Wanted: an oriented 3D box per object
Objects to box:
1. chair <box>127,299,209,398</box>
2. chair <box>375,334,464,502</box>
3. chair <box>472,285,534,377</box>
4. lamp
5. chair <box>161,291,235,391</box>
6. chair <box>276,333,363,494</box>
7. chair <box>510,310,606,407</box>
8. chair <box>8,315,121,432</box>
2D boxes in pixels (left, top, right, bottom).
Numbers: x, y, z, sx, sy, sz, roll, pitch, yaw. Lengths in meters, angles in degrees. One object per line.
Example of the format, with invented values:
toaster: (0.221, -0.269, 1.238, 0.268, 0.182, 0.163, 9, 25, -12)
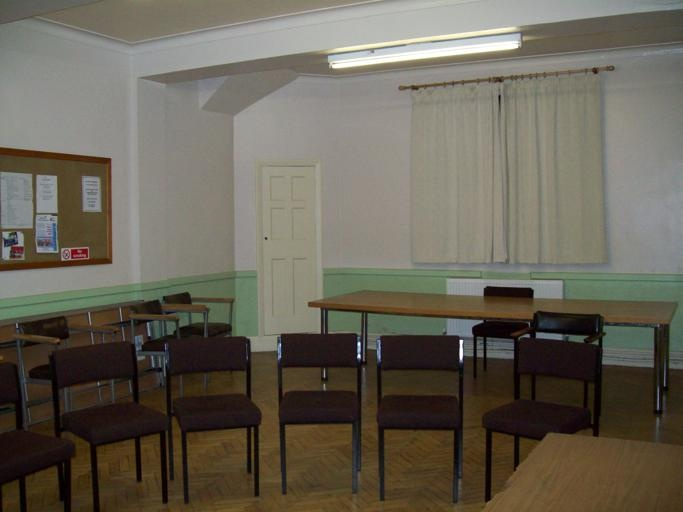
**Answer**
chair: (-1.775, 1.030, 6.227, 0.817, 1.142, 1.117, 0, 0, 14)
chair: (0.593, 1.122, 4.304, 0.635, 1.062, 0.897, -1, 7, 6)
chair: (1.834, 0.869, 6.405, 0.641, 1.040, 0.682, 1, -1, 16)
lamp: (0.798, -2.032, 5.581, 1.872, 0.161, 0.208, 1, 7, 18)
chair: (-1.582, 0.919, 6.756, 0.886, 1.155, 1.068, 0, 2, 14)
chair: (-0.169, 1.124, 4.401, 0.664, 1.051, 1.020, -2, 7, -4)
chair: (1.835, 0.872, 4.768, 0.878, 1.099, 0.696, -1, -5, 28)
chair: (-2.640, 1.089, 5.371, 0.839, 1.240, 0.975, 0, 1, 31)
